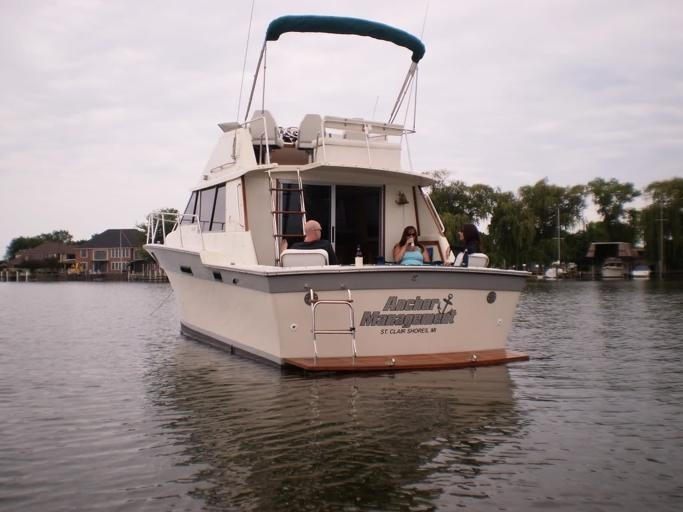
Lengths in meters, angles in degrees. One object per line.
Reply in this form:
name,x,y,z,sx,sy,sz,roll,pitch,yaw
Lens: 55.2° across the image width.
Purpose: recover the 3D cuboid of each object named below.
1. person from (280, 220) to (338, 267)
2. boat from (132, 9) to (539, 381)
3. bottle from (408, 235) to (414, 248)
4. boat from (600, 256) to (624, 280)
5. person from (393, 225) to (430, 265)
person,-0.505,-0.179,10.968,0.981,0.807,0.449,-3,5,35
boat,-0.175,-1.188,12.139,4.301,6.396,6.668,-3,5,-39
bottle,1.264,-0.246,11.801,0.119,0.227,0.097,-1,4,-15
boat,30.350,1.315,72.850,2.350,2.301,3.471,1,4,21
person,1.315,-0.103,11.885,0.688,0.841,0.519,-5,-6,22
